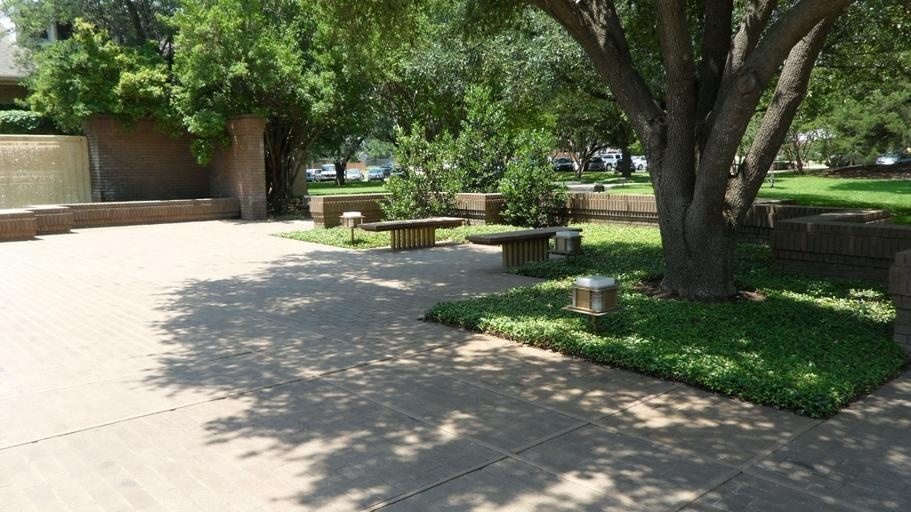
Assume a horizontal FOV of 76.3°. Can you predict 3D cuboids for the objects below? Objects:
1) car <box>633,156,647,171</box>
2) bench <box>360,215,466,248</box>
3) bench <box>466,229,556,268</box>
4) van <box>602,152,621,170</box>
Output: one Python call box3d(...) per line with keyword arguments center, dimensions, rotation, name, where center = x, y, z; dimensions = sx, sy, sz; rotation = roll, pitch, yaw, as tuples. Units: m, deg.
box3d(center=(21.652, -11.082, 68.484), dimensions=(1.296, 1.485, 7.046), rotation=(3, 13, 15), name="car")
box3d(center=(-1.337, -0.738, 17.995), dimensions=(2.909, 0.936, 0.818), rotation=(-10, 17, -33), name="bench")
box3d(center=(1.665, -0.248, 15.456), dimensions=(2.435, 0.880, 0.778), rotation=(-12, 18, -40), name="bench")
box3d(center=(18.532, -10.893, 67.024), dimensions=(3.444, 1.335, 1.849), rotation=(-14, 24, -24), name="van")
